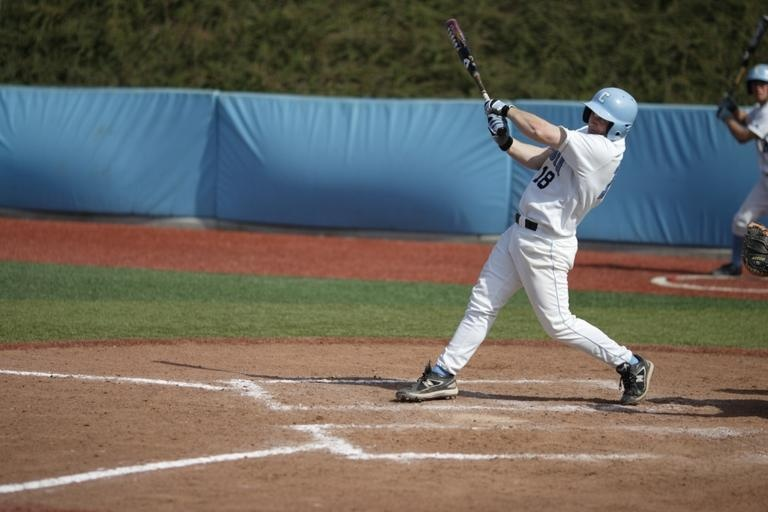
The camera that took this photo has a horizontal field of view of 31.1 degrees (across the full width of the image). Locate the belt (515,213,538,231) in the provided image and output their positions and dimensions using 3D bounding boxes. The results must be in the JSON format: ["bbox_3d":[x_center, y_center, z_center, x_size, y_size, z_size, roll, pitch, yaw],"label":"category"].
[{"bbox_3d":[2.010,-0.474,19.671,0.323,0.112,0.225,20,3,-3],"label":"belt"}]

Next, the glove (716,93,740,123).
[{"bbox_3d":[5.376,-2.292,21.591,0.211,0.440,0.282,24,5,-13],"label":"glove"}]
